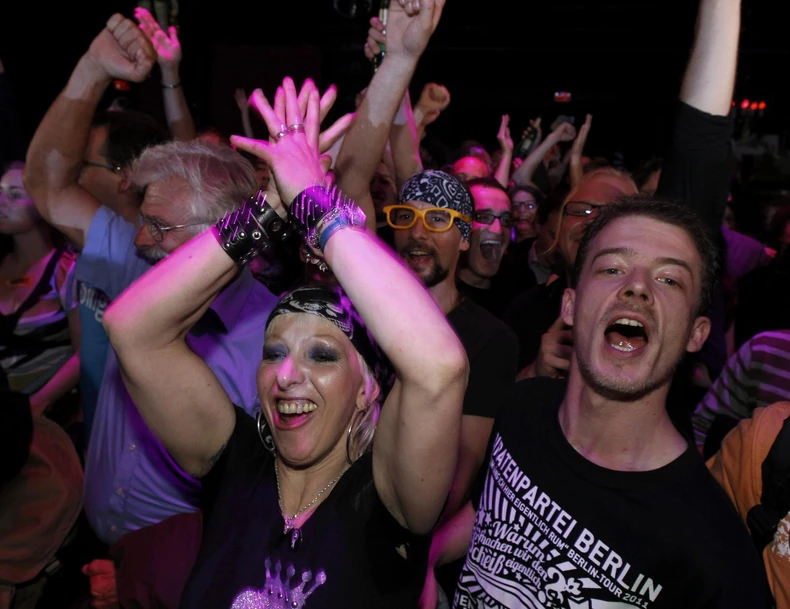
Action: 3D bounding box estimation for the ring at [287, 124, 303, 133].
[{"bbox_3d":[-0.433,-0.765,3.113,0.041,0.029,0.044,1,8,0],"label":"ring"}]

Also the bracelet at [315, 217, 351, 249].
[{"bbox_3d":[-0.243,-0.286,2.980,0.031,0.132,0.128,37,-19,3],"label":"bracelet"}]
